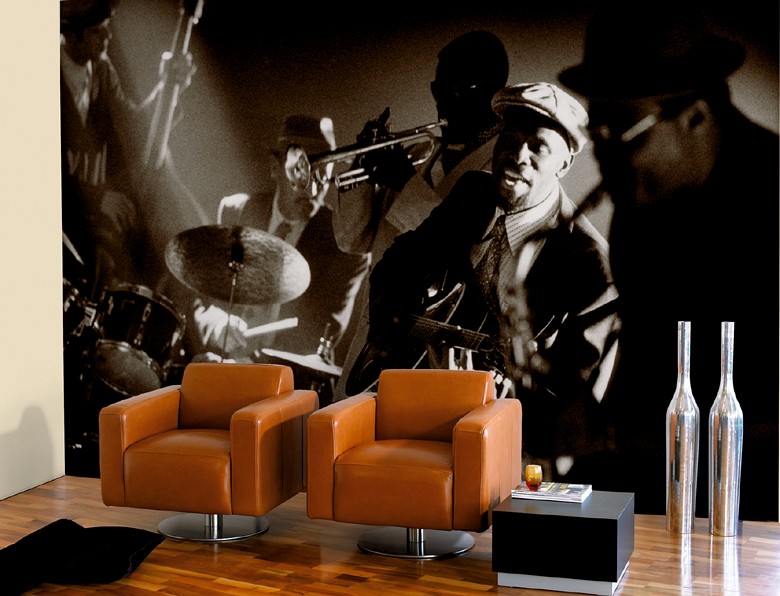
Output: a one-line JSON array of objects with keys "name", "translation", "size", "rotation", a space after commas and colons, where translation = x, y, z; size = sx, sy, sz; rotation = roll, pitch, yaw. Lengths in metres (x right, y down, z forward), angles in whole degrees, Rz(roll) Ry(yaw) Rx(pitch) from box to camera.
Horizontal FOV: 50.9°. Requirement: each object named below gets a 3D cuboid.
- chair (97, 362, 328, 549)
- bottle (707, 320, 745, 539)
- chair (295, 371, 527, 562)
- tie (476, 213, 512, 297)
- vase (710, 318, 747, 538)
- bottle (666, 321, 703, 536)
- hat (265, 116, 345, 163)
[{"name": "chair", "translation": [-1.117, 0.871, 5.183], "size": [1.084, 0.758, 0.828], "rotation": [3, -4, 20]}, {"name": "bottle", "translation": [2.105, 0.829, 5.089], "size": [0.190, 1.317, 0.139], "rotation": [3, -3, 21]}, {"name": "chair", "translation": [0.210, 0.923, 5.077], "size": [1.169, 1.122, 1.182], "rotation": [3, 4, 20]}, {"name": "tie", "translation": [0.743, -0.286, 5.730], "size": [0.188, 0.554, 0.057], "rotation": [5, 7, 32]}, {"name": "vase", "translation": [2.115, 0.876, 5.110], "size": [0.147, 1.484, 0.175], "rotation": [4, 5, 1]}, {"name": "bottle", "translation": [1.837, 0.851, 5.136], "size": [0.180, 1.433, 0.184], "rotation": [2, 5, 0]}, {"name": "hat", "translation": [-0.620, -1.185, 6.127], "size": [0.387, 0.307, 0.281], "rotation": [8, 8, 27]}]
